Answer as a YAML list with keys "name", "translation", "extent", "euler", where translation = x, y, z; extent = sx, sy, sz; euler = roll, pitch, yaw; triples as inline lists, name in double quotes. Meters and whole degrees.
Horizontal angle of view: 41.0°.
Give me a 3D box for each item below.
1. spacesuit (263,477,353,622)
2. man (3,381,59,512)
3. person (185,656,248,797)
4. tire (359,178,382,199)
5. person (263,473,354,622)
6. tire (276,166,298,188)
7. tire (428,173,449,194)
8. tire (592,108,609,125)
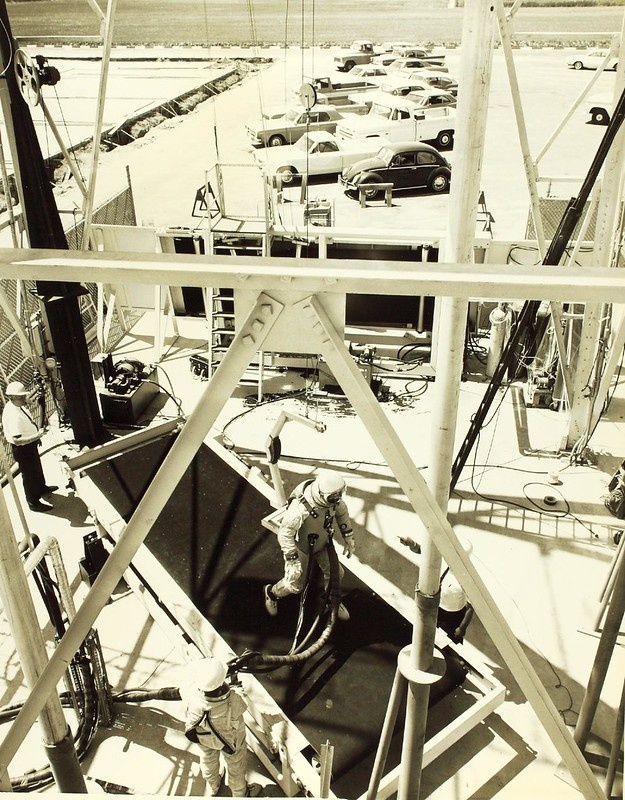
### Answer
- name: "spacesuit"
  translation: [-0.017, 1.331, 7.542]
  extent: [0.776, 1.649, 0.627]
  euler: [-2, 32, -10]
- name: "man"
  translation: [-3.245, 0.571, 9.577]
  extent: [0.449, 1.401, 0.599]
  euler: [-4, 50, -13]
- name: "person"
  translation: [-0.704, 2.419, 6.078]
  extent: [0.494, 1.260, 0.527]
  euler: [1, 15, -5]
- name: "tire"
  translation: [1.339, -4.594, 18.071]
  extent: [0.509, 0.483, 0.311]
  euler: [-6, 17, -30]
- name: "person"
  translation: [0.008, 1.326, 7.535]
  extent: [0.746, 1.608, 0.656]
  euler: [1, 33, -4]
- name: "tire"
  translation: [-0.569, -4.985, 18.514]
  extent: [0.449, 0.403, 0.718]
  euler: [2, 15, -2]
- name: "tire"
  translation: [2.861, -4.924, 18.994]
  extent: [0.411, 0.444, 0.615]
  euler: [5, 15, 8]
- name: "tire"
  translation: [2.957, -2.950, 8.638]
  extent: [0.156, 0.185, 0.527]
  euler: [6, 16, 11]
